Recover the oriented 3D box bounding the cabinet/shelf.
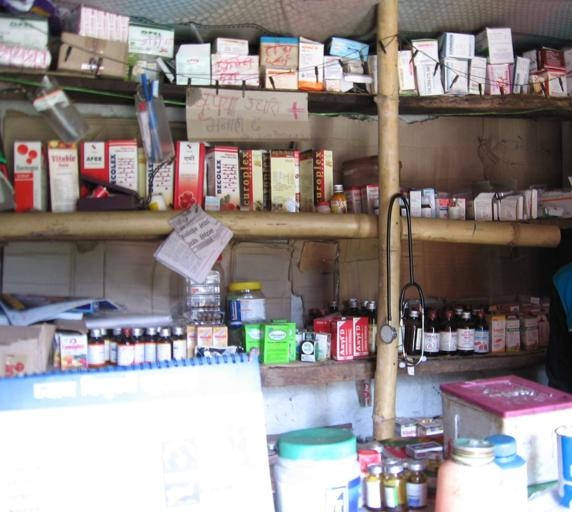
[{"bbox_3d":[-0.062,-0.291,2.598,1.900,1.549,0.621,-1,1,-15],"label":"cabinet/shelf"}]

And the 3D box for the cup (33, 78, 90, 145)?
[{"bbox_3d":[-0.909,-0.578,2.404,0.107,0.233,0.177,-1,2,41],"label":"cup"}]

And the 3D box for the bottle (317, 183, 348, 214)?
[{"bbox_3d":[0.203,-0.248,2.625,0.134,0.121,0.099,-3,2,-9],"label":"bottle"}]

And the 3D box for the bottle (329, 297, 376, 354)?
[{"bbox_3d":[0.308,0.331,2.731,0.242,0.230,0.081,0,-3,-34],"label":"bottle"}]

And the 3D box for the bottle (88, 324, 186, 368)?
[{"bbox_3d":[-0.578,0.352,2.291,0.428,0.108,0.100,-2,15,-15],"label":"bottle"}]
